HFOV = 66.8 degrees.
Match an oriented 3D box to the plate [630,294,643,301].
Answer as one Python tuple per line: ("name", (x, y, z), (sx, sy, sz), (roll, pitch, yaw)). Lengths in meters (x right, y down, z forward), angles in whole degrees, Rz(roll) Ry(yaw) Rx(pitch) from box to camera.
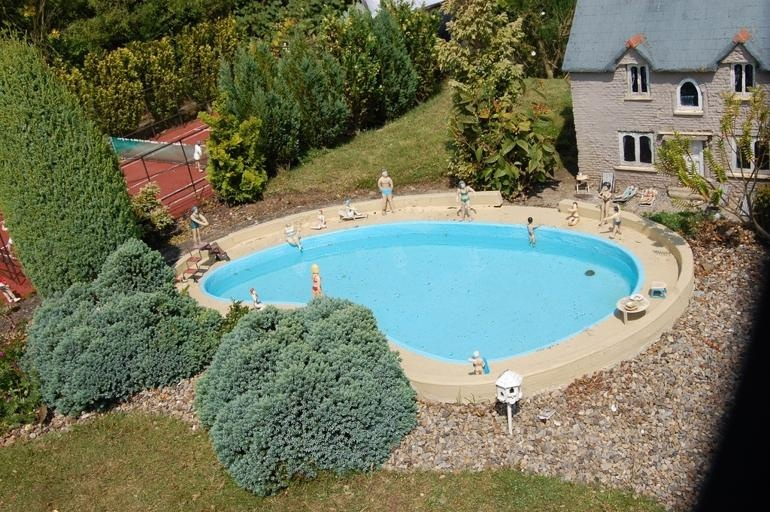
("plate", (9.233, 1.477, 21.364), (0.455, 0.143, 0.380), (10, 41, 21))
